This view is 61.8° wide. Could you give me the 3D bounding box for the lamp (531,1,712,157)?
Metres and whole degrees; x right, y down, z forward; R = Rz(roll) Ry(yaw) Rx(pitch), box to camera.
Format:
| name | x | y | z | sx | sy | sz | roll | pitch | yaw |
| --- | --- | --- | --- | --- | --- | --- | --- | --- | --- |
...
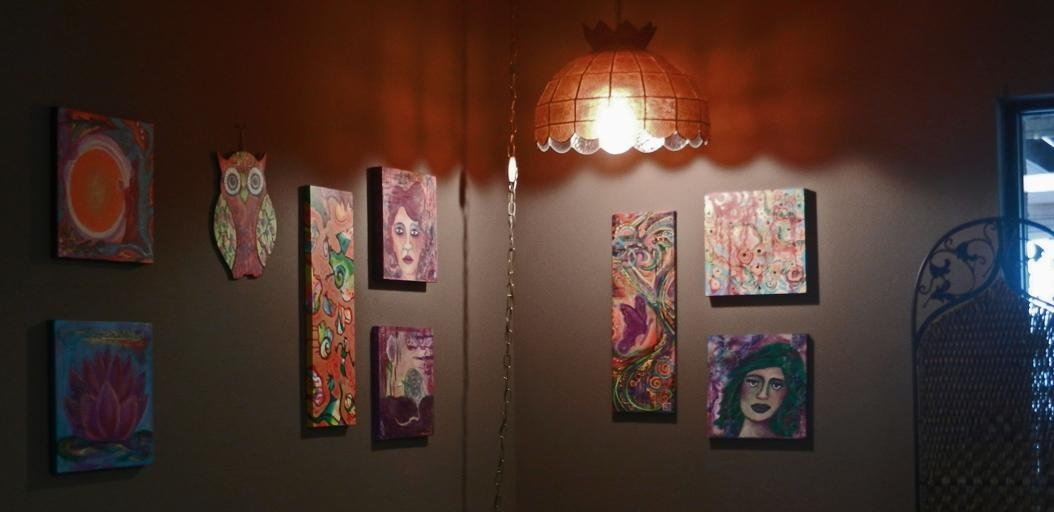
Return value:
| name | x | y | z | sx | sy | sz | roll | pitch | yaw |
| --- | --- | --- | --- | --- | --- | --- | --- | --- | --- |
| lamp | 0.634 | -0.933 | 5.960 | 1.076 | 1.104 | 1.037 | 5 | -10 | -38 |
